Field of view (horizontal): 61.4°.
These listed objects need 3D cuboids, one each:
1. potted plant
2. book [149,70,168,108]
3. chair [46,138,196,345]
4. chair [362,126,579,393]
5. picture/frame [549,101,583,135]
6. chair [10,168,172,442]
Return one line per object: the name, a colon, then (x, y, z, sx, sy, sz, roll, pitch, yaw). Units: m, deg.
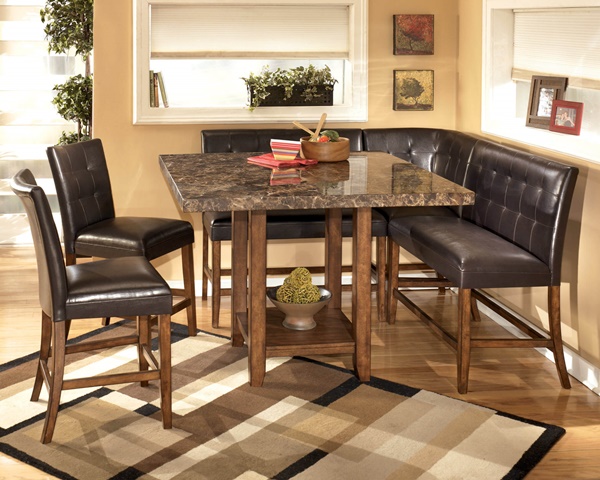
potted plant: (-0.080, -1.302, 4.201, 0.689, 0.235, 0.737, -1, 23, 0)
book: (-1.077, -1.137, 3.793, 0.128, 0.277, 0.112, -3, 16, -14)
chair: (-1.102, -0.007, 3.054, 0.844, 1.024, 0.633, 12, 14, 2)
chair: (0.970, -0.088, 3.422, 0.787, 0.992, 1.931, -14, 20, -6)
picture/frame: (1.602, -0.736, 3.016, 0.027, 0.207, 0.246, 4, 11, -31)
chair: (-0.919, 0.244, 2.222, 0.647, 1.100, 0.613, -5, 16, -18)
